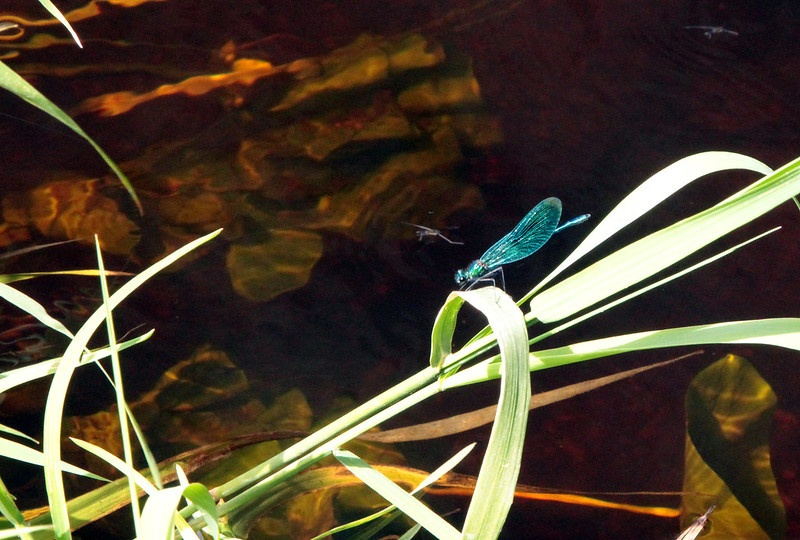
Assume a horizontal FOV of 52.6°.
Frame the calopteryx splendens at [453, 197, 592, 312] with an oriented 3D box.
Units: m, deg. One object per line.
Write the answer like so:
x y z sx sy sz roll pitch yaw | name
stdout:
0.249 -0.045 1.722 0.369 0.160 0.148 -22 21 -18 | calopteryx splendens
